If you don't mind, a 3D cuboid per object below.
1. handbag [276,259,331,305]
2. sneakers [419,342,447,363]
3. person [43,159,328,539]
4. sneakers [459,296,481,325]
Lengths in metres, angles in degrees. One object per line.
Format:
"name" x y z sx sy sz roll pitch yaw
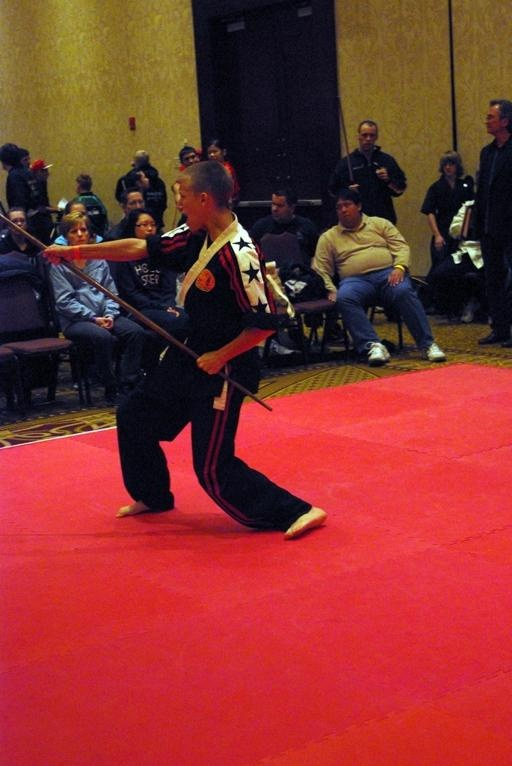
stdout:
"handbag" 0.422 -0.970 6.355 0.512 0.159 0.466 3 32 -26
"sneakers" 1.606 -0.273 5.926 0.172 0.180 0.175 -3 5 2
"person" -0.207 -0.100 2.543 0.747 1.406 0.358 0 7 38
"sneakers" 2.563 -0.856 7.877 0.196 0.142 0.460 -6 -20 2
